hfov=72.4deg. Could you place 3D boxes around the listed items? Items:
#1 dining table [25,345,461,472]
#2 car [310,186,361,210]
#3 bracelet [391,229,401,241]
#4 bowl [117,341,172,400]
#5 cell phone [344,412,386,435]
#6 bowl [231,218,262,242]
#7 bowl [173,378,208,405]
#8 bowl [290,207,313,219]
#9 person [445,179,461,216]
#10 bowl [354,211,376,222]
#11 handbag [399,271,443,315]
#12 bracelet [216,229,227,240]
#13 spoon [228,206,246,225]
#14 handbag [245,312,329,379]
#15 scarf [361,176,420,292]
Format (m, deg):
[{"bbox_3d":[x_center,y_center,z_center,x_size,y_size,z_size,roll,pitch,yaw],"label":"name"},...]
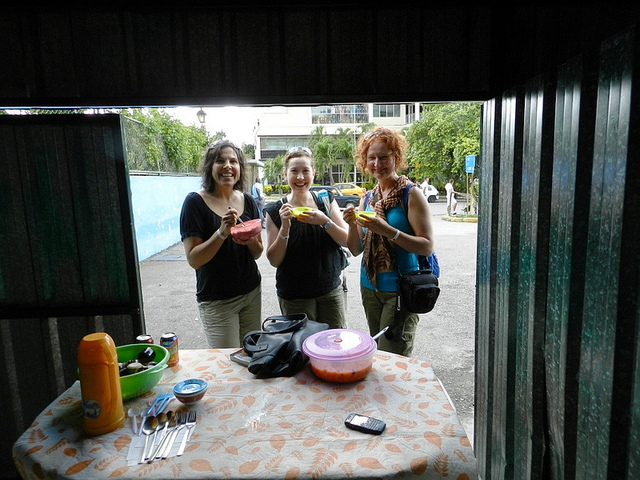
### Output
[{"bbox_3d":[-0.305,0.738,1.853,1.259,0.322,0.761,1,12,-3],"label":"dining table"},{"bbox_3d":[0.385,-1.612,14.333,1.908,0.906,1.081,-3,10,-5],"label":"car"},{"bbox_3d":[0.480,-0.034,2.764,0.055,0.015,0.055,-57,8,-13],"label":"bracelet"},{"bbox_3d":[-0.810,0.581,2.026,0.223,0.100,0.214,4,4,0],"label":"bowl"},{"bbox_3d":[0.187,0.741,1.777,0.112,0.029,0.066,4,11,18],"label":"cell phone"},{"bbox_3d":[-0.461,-0.055,2.794,0.207,0.117,0.132,-11,12,-23],"label":"bowl"},{"bbox_3d":[-0.570,0.679,1.948,0.143,0.078,0.112,-10,12,-17],"label":"bowl"},{"bbox_3d":[-0.124,-0.185,2.946,0.134,0.073,0.108,-7,11,-4],"label":"bowl"},{"bbox_3d":[4.763,-1.475,15.785,0.310,1.251,1.622,-3,12,17],"label":"person"},{"bbox_3d":[0.290,-0.150,2.797,0.141,0.060,0.099,-4,11,12],"label":"bowl"},{"bbox_3d":[0.630,0.331,2.750,0.221,0.273,0.250,-2,-6,-22],"label":"handbag"},{"bbox_3d":[-0.621,-0.035,2.752,0.053,0.064,0.034,-8,11,-7],"label":"bracelet"},{"bbox_3d":[-0.541,-0.154,2.846,0.021,0.142,0.031,-26,-8,-11],"label":"spoon"},{"bbox_3d":[-0.187,0.512,2.204,0.277,0.129,0.315,-6,15,20],"label":"handbag"},{"bbox_3d":[0.401,-0.028,2.974,0.393,0.754,0.344,8,38,16],"label":"scarf"}]
